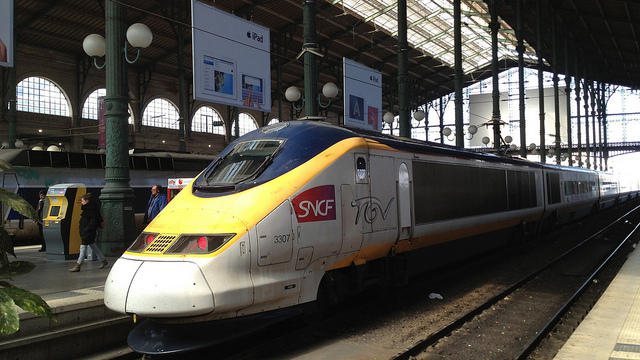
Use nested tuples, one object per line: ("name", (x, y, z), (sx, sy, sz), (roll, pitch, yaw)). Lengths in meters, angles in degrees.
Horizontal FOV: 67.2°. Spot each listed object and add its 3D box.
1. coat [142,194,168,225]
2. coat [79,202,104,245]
("coat", (-5.575, 0.981, 16.405), (1.082, 0.966, 0.412), (7, -5, 39))
("coat", (-7.417, 1.395, 15.609), (0.702, 1.273, 0.582), (-5, 11, -29))
